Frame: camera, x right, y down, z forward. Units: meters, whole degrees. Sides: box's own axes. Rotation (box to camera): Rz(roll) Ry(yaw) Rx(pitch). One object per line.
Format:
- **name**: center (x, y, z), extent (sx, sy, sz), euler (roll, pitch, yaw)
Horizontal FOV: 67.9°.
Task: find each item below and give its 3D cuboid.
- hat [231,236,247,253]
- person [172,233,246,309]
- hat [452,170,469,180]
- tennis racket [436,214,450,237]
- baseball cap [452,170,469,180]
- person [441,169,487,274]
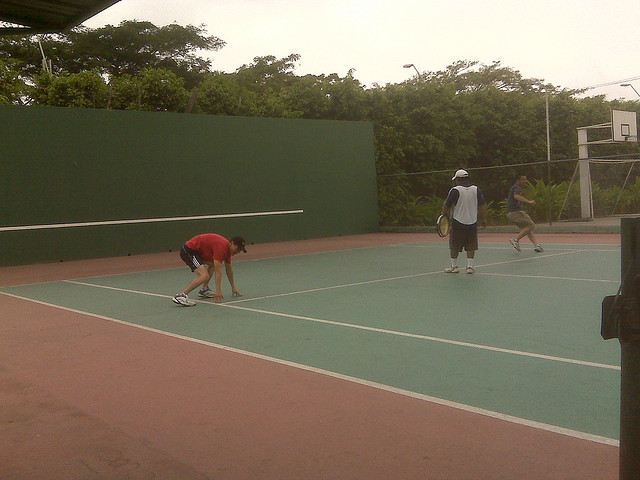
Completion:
- **hat**: center (-1.208, 0.089, 7.072), extent (0.178, 0.241, 0.365), euler (-3, 5, -11)
- **person**: center (-1.763, 0.410, 7.515), extent (1.020, 1.161, 0.718), euler (3, 12, -18)
- **hat**: center (2.910, -1.358, 9.915), extent (0.348, 0.196, 0.230), euler (-8, 1, 42)
- **tennis racket**: center (2.947, -0.326, 11.268), extent (0.132, 0.579, 0.576), euler (-2, 49, 29)
- **baseball cap**: center (2.912, -1.360, 9.921), extent (0.348, 0.196, 0.230), euler (-8, 1, 42)
- **person**: center (2.989, -0.403, 9.869), extent (0.752, 2.079, 1.056), euler (0, 5, 25)
